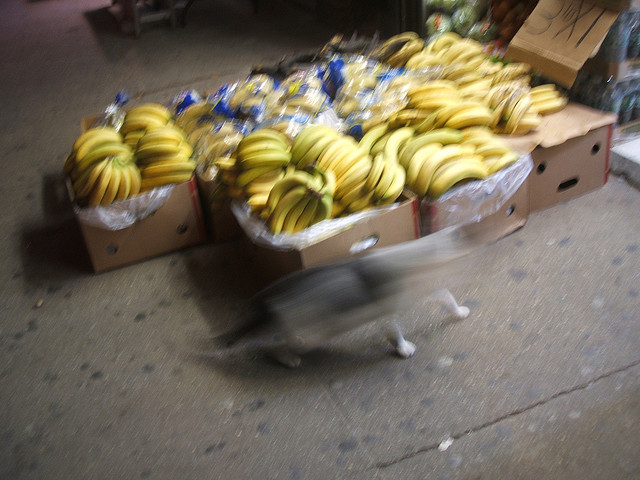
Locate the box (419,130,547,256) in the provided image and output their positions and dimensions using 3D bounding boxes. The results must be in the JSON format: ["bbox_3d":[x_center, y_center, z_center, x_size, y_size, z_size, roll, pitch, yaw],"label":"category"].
[{"bbox_3d":[0.683,-0.132,2.499,0.590,0.365,0.578,-22,51,-15],"label":"box"}]

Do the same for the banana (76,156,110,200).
[{"bbox_3d":[-1.063,-0.272,2.420,0.268,0.074,0.089,-55,28,1],"label":"banana"}]

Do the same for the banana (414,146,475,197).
[{"bbox_3d":[0.525,-0.331,2.233,0.249,0.193,0.078,-42,103,-20],"label":"banana"}]

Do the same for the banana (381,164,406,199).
[{"bbox_3d":[0.333,-0.251,2.194,0.036,0.136,0.136,37,17,-26],"label":"banana"}]

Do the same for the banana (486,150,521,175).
[{"bbox_3d":[0.814,-0.346,2.276,0.111,0.104,0.036,-19,56,-37],"label":"banana"}]

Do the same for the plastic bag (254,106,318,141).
[{"bbox_3d":[-0.163,-0.600,2.554,0.266,0.090,0.199,-16,18,-29],"label":"plastic bag"}]

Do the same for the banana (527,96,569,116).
[{"bbox_3d":[1.112,-0.657,2.523,0.253,0.065,0.073,-17,93,-15],"label":"banana"}]

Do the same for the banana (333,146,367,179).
[{"bbox_3d":[0.121,-0.321,2.225,0.140,0.130,0.034,-42,97,-26],"label":"banana"}]

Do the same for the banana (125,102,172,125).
[{"bbox_3d":[-0.935,-0.729,2.865,0.235,0.072,0.193,10,47,5],"label":"banana"}]

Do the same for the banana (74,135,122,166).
[{"bbox_3d":[-1.160,-0.467,2.678,0.180,0.057,0.177,-20,84,-23],"label":"banana"}]

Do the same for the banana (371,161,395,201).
[{"bbox_3d":[0.275,-0.252,2.187,0.037,0.143,0.115,23,13,-10],"label":"banana"}]

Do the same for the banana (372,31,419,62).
[{"bbox_3d":[0.479,-1.242,3.293,0.268,0.214,0.081,-28,86,11],"label":"banana"}]

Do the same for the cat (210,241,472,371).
[{"bbox_3d":[0.124,0.272,1.991,0.718,0.366,0.150,-14,49,26],"label":"cat"}]

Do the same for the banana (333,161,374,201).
[{"bbox_3d":[0.140,-0.244,2.186,0.066,0.043,0.196,45,91,7],"label":"banana"}]

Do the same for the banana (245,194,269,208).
[{"bbox_3d":[-0.268,-0.169,2.225,0.096,0.032,0.048,-13,62,32],"label":"banana"}]

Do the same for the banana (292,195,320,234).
[{"bbox_3d":[-0.052,-0.110,2.098,0.059,0.163,0.035,34,19,27],"label":"banana"}]

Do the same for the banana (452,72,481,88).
[{"bbox_3d":[0.786,-0.853,2.726,0.111,0.036,0.083,-23,8,23],"label":"banana"}]

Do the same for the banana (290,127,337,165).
[{"bbox_3d":[-0.034,-0.428,2.273,0.174,0.152,0.058,-38,73,19],"label":"banana"}]

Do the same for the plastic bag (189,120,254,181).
[{"bbox_3d":[-0.542,-0.440,2.623,0.119,0.360,0.219,57,25,11],"label":"plastic bag"}]

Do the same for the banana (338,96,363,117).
[{"bbox_3d":[0.173,-0.721,2.777,0.054,0.044,0.153,33,71,25],"label":"banana"}]

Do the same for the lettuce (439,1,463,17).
[{"bbox_3d":[0.879,-1.576,3.464,0.126,0.117,0.035,27,19,39],"label":"lettuce"}]

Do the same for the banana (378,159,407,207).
[{"bbox_3d":[0.322,-0.236,2.206,0.060,0.180,0.144,24,3,-20],"label":"banana"}]

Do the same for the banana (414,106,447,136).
[{"bbox_3d":[0.523,-0.553,2.409,0.205,0.063,0.037,-38,13,10],"label":"banana"}]

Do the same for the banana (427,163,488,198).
[{"bbox_3d":[0.566,-0.265,2.293,0.145,0.335,0.095,-7,88,-7],"label":"banana"}]

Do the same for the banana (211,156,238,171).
[{"bbox_3d":[-0.425,-0.346,2.322,0.127,0.071,0.030,12,46,34],"label":"banana"}]

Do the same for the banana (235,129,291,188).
[{"bbox_3d":[-0.254,-0.300,2.298,0.227,0.172,0.073,-3,64,6],"label":"banana"}]

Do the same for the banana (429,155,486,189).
[{"bbox_3d":[0.544,-0.268,2.136,0.117,0.084,0.438,-4,5,-3],"label":"banana"}]

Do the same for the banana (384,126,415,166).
[{"bbox_3d":[0.365,-0.420,2.328,0.121,0.052,0.226,18,49,0],"label":"banana"}]

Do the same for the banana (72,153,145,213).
[{"bbox_3d":[-0.984,-0.260,2.390,0.227,0.107,0.322,-12,33,-5],"label":"banana"}]

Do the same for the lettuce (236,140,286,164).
[{"bbox_3d":[-0.263,-0.398,2.255,0.143,0.050,0.125,-15,3,30],"label":"lettuce"}]

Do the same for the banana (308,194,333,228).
[{"bbox_3d":[0.015,-0.124,2.100,0.055,0.105,0.163,26,90,-11],"label":"banana"}]

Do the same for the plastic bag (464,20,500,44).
[{"bbox_3d":[1.080,-1.369,3.417,0.184,0.055,0.145,-32,84,-9],"label":"plastic bag"}]

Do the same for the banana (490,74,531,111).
[{"bbox_3d":[0.921,-0.714,2.499,0.267,0.142,0.058,-38,45,-10],"label":"banana"}]

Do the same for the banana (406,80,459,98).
[{"bbox_3d":[0.573,-0.757,2.572,0.145,0.039,0.154,-9,23,13],"label":"banana"}]

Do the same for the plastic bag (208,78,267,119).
[{"bbox_3d":[-0.512,-0.821,2.989,0.403,0.131,0.476,-14,32,-25],"label":"plastic bag"}]

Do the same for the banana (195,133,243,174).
[{"bbox_3d":[-0.481,-0.414,2.489,0.074,0.057,0.274,34,70,27],"label":"banana"}]

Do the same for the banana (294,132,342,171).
[{"bbox_3d":[-0.010,-0.383,2.229,0.051,0.164,0.152,37,40,9],"label":"banana"}]

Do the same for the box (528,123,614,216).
[{"bbox_3d":[1.225,-0.367,2.651,0.458,0.286,0.456,-18,35,0],"label":"box"}]

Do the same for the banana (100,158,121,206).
[{"bbox_3d":[-0.987,-0.279,2.436,0.106,0.369,0.129,9,66,-18],"label":"banana"}]

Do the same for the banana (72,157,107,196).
[{"bbox_3d":[-1.074,-0.294,2.415,0.055,0.038,0.211,38,82,28],"label":"banana"}]

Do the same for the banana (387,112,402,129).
[{"bbox_3d":[0.363,-0.578,2.493,0.021,0.071,0.054,13,83,25],"label":"banana"}]

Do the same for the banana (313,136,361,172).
[{"bbox_3d":[0.080,-0.364,2.248,0.065,0.167,0.183,46,34,-12],"label":"banana"}]

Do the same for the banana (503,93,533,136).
[{"bbox_3d":[0.967,-0.588,2.415,0.063,0.147,0.174,32,49,14],"label":"banana"}]

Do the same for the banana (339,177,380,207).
[{"bbox_3d":[0.173,-0.211,2.183,0.143,0.055,0.032,-40,19,-3],"label":"banana"}]

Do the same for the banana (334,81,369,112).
[{"bbox_3d":[0.183,-0.785,2.819,0.112,0.204,0.037,19,19,-16],"label":"banana"}]

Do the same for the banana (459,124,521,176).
[{"bbox_3d":[0.769,-0.416,2.314,0.229,0.088,0.250,15,39,-14],"label":"banana"}]

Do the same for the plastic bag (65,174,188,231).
[{"bbox_3d":[-0.968,-0.210,2.443,0.339,0.138,0.268,-24,35,-20],"label":"plastic bag"}]

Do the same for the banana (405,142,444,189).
[{"bbox_3d":[0.441,-0.349,2.262,0.052,0.184,0.190,30,35,0],"label":"banana"}]

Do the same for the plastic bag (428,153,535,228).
[{"bbox_3d":[0.726,-0.208,2.297,0.468,0.292,0.120,-25,74,-6],"label":"plastic bag"}]

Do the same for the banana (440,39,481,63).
[{"bbox_3d":[0.831,-1.125,2.998,0.254,0.066,0.148,-29,29,-37],"label":"banana"}]

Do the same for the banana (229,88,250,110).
[{"bbox_3d":[-0.437,-0.771,2.817,0.144,0.078,0.038,-42,81,2],"label":"banana"}]
